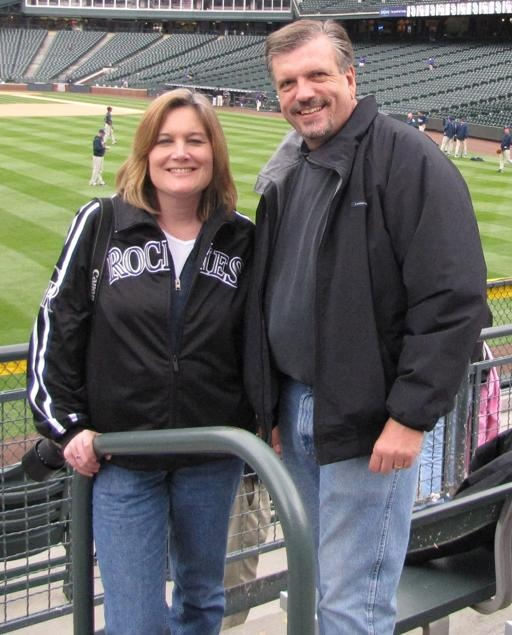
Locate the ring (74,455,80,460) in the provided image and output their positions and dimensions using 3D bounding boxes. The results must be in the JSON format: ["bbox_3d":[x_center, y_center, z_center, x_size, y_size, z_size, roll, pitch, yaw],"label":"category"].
[{"bbox_3d":[-0.432,0.339,1.528,0.009,0.004,0.012,-7,12,-26],"label":"ring"}]
